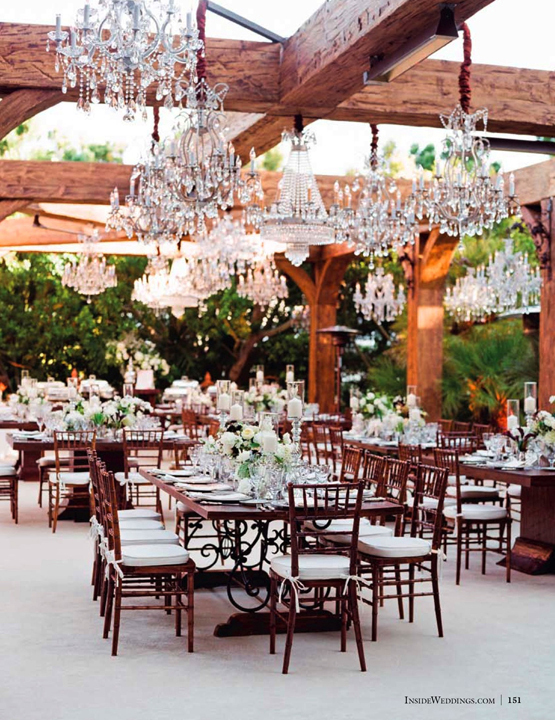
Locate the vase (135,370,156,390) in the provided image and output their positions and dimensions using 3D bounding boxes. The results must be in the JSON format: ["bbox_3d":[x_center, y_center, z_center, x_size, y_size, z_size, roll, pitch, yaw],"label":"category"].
[{"bbox_3d":[-1.904,0.279,13.730,0.259,0.325,0.181,-2,-27,5],"label":"vase"}]
